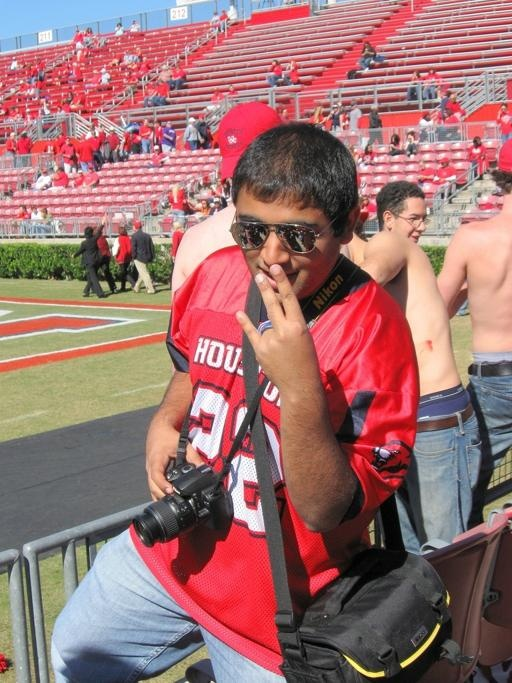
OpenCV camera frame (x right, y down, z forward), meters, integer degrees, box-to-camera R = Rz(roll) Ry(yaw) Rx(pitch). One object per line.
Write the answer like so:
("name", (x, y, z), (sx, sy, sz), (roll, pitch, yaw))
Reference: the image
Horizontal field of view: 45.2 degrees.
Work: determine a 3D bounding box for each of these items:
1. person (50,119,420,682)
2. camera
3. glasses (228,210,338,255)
("person", (-0.041, 0.229, 1.313), (0.738, 1.301, 0.432), (5, 13, 39))
("camera", (-0.134, 0.316, 1.226), (0.174, 0.095, 0.156), (-27, 29, -22))
("glasses", (0.033, -0.192, 1.108), (0.170, 0.076, 0.079), (3, 11, 32))
